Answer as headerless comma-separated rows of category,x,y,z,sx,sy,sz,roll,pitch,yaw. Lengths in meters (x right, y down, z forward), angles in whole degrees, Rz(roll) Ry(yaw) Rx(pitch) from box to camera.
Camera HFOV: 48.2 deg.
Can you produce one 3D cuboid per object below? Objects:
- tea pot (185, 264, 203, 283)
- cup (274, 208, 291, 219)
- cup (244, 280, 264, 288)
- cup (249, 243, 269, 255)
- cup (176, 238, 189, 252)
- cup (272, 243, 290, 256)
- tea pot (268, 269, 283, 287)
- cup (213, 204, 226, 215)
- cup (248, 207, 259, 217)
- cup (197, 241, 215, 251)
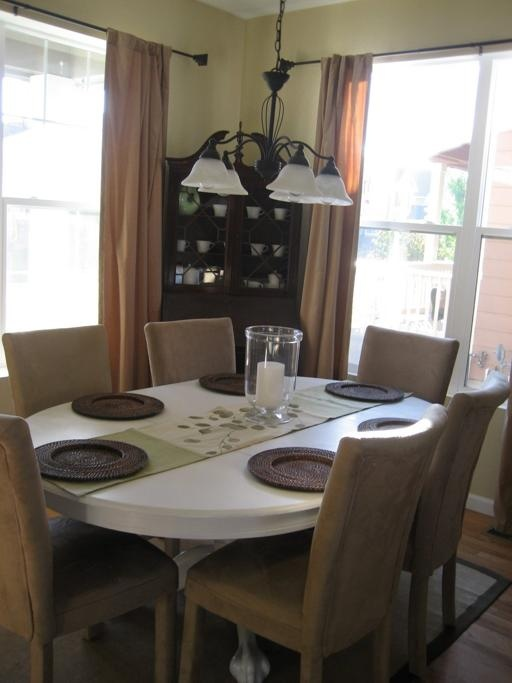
tea pot,-0.378,-0.415,3.467,0.091,0.105,0.090,2,18,-1
cup,0.156,-0.779,3.479,0.068,0.054,0.056,-1,4,-33
cup,-0.014,-0.355,3.543,0.075,0.036,0.050,6,-7,-41
cup,0.015,-0.567,3.510,0.087,0.064,0.062,1,6,-20
cup,-0.436,-0.566,3.386,0.045,0.070,0.072,2,1,39
cup,0.143,-0.570,3.527,0.072,0.060,0.062,2,6,-8
tea pot,0.122,-0.384,3.514,0.087,0.100,0.087,3,10,0
cup,-0.214,-0.787,3.424,0.067,0.059,0.056,4,6,-9
cup,-0.015,-0.781,3.462,0.063,0.053,0.053,1,8,-19
cup,-0.301,-0.573,3.432,0.049,0.056,0.076,3,13,37
